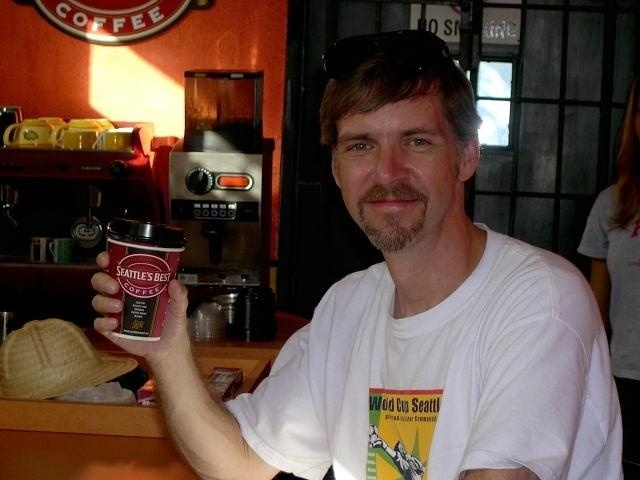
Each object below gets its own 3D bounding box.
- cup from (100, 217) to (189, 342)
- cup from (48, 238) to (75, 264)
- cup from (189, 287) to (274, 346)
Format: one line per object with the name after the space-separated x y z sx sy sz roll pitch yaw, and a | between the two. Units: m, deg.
-0.384 0.089 1.279 0.173 0.237 0.175 7 0 0 | cup
-1.194 0.051 2.734 0.100 0.115 0.083 -2 6 -25 | cup
-0.367 0.325 2.575 0.336 0.210 0.219 1 -5 3 | cup
